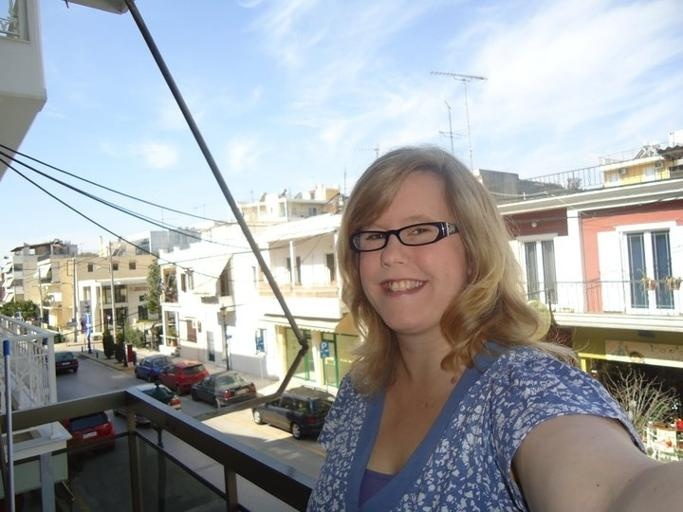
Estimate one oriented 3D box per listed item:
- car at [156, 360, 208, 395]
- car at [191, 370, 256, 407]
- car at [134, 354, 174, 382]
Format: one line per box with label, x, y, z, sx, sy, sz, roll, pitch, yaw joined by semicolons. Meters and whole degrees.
car;-6.187;4.622;20.419;2.327;1.140;1.371;2;4;44
car;-3.978;4.338;17.380;1.139;0.809;2.309;2;-1;-38
car;-7.877;4.955;22.138;1.085;0.874;1.778;0;5;-39
